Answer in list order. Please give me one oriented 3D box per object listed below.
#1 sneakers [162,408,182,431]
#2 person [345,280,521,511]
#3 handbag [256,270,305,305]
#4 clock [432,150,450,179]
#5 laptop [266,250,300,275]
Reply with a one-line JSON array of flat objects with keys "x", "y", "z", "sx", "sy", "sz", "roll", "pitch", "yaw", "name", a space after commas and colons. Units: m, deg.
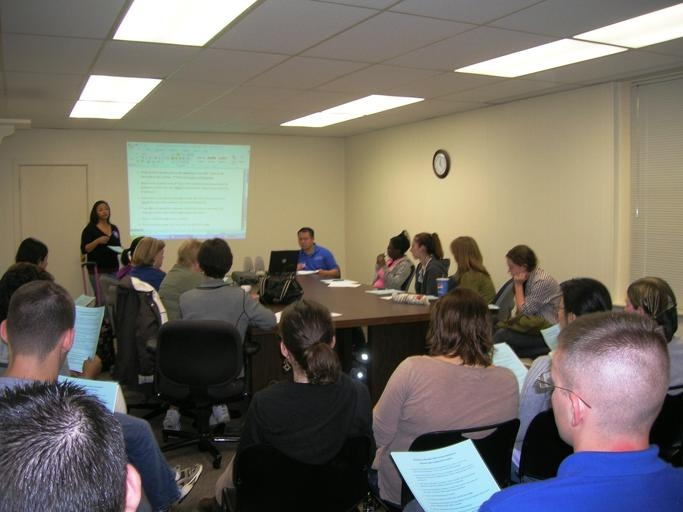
[{"x": -1.193, "y": 1.134, "z": 3.531, "sx": 0.101, "sy": 0.056, "sz": 0.161, "roll": 1, "pitch": 8, "yaw": -12, "name": "sneakers"}, {"x": 0.378, "y": 0.549, "z": 2.182, "sx": 0.713, "sy": 1.075, "sz": 0.732, "roll": -1, "pitch": 1, "yaw": -7, "name": "person"}, {"x": -0.524, "y": 0.283, "z": 4.233, "sx": 0.308, "sy": 0.240, "sz": 0.313, "roll": 1, "pitch": 10, "yaw": -1, "name": "handbag"}, {"x": 1.382, "y": -1.273, "z": 6.882, "sx": 0.047, "sy": 0.411, "sz": 0.384, "roll": -4, "pitch": 8, "yaw": -25, "name": "clock"}, {"x": -0.593, "y": 0.058, "z": 5.342, "sx": 0.321, "sy": 0.245, "sz": 0.233, "roll": -3, "pitch": 7, "yaw": -33, "name": "laptop"}]
